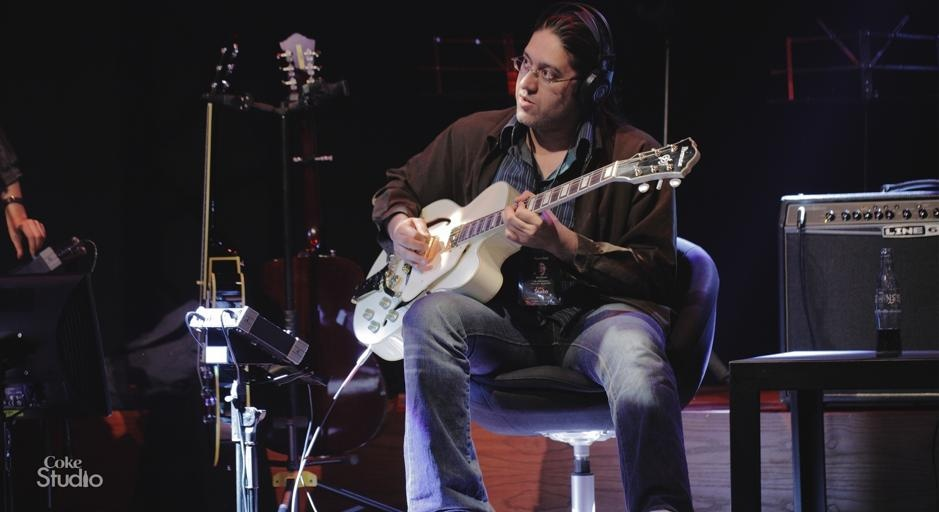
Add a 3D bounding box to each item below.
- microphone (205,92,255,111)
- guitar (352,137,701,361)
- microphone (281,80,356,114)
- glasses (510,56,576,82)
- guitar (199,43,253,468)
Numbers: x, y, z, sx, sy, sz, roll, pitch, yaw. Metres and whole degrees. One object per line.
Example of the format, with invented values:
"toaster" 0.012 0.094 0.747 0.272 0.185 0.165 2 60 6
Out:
"microphone" -1.648 -1.076 6.192 0.291 0.147 0.066 5 -17 2
"guitar" 0.287 0.087 5.525 2.465 0.950 0.364 -26 -42 28
"microphone" -1.052 -1.122 6.208 0.419 0.147 0.217 -16 10 31
"glasses" 0.424 -1.102 5.332 0.235 0.071 0.226 19 3 -46
"guitar" -1.722 -0.045 6.230 0.299 2.986 0.476 0 -3 -17
